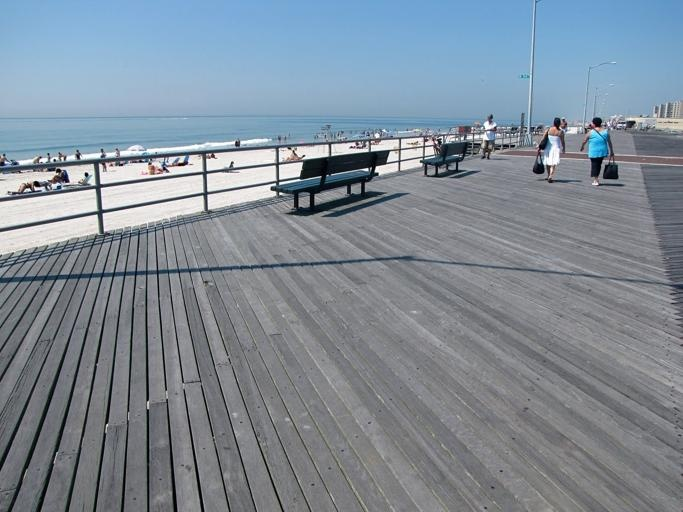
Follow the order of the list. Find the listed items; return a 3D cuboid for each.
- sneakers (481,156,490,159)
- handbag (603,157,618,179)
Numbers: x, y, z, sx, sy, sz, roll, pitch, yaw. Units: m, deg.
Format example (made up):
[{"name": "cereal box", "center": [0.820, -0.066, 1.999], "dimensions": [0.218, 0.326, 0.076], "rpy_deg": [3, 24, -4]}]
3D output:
[{"name": "sneakers", "center": [6.551, -4.511, 18.418], "dimensions": [0.323, 0.209, 0.109], "rpy_deg": [24, 53, 39]}, {"name": "handbag", "center": [7.297, -2.351, 10.937], "dimensions": [0.296, 0.530, 0.560], "rpy_deg": [10, 21, 32]}]
